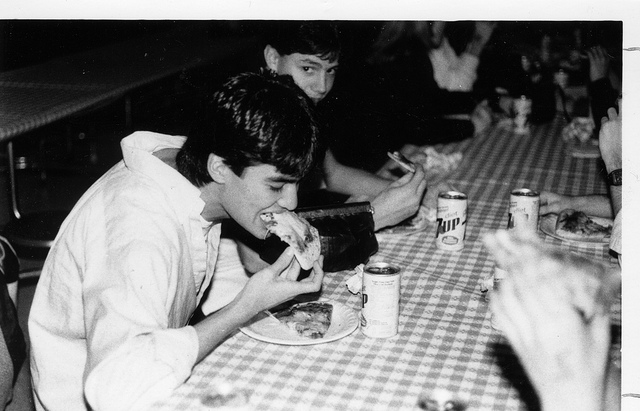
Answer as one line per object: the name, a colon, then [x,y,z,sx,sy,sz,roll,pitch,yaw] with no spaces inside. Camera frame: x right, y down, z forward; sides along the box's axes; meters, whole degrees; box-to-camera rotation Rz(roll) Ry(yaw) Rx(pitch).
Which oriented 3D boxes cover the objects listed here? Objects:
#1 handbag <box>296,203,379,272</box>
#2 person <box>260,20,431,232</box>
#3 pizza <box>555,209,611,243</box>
handbag: [0.040,0.131,2.485,0.362,0.261,0.144,-8,-4,-25]
person: [0.212,-0.536,3.100,0.643,1.117,1.163,-37,39,-19]
pizza: [1.284,0.108,2.632,0.200,0.043,0.154,23,53,24]
